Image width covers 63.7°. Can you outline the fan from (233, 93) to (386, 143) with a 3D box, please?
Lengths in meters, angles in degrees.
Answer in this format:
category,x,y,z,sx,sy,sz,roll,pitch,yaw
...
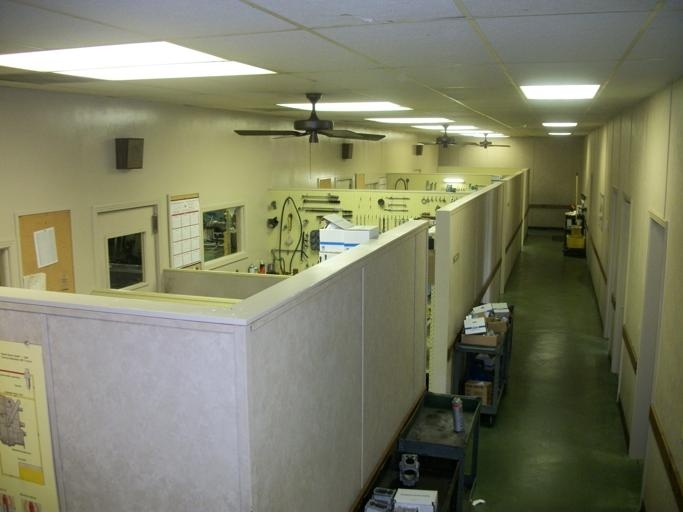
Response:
category,x,y,z,sx,sy,sz,roll,pitch,yaw
fan,-0.524,-1.893,7.508,1.169,0.436,1.195,1,2,24

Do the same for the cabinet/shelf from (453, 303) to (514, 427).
category,x,y,z,sx,sy,sz,roll,pitch,yaw
cabinet/shelf,1.621,1.275,6.348,0.417,0.816,1.333,2,7,18
